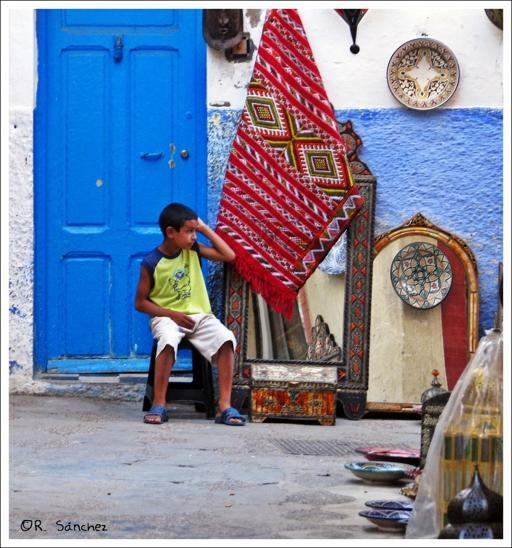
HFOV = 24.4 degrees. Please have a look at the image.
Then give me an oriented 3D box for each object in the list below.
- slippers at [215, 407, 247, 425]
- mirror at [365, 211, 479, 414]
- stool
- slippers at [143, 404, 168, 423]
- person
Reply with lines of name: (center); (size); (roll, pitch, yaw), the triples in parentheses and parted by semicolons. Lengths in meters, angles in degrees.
slippers: (-0.139, 0.790, 6.545); (0.077, 0.061, 0.169); (2, -6, -28)
mirror: (0.973, 0.250, 7.111); (0.740, 1.182, 0.047); (-3, 13, -4)
stool: (-0.423, 0.591, 6.858); (0.456, 0.584, 0.438); (1, -1, -9)
slippers: (-0.538, 0.758, 6.409); (0.129, 0.100, 0.239); (3, -5, -4)
person: (-0.365, 0.217, 6.679); (0.625, 1.226, 0.538); (3, -5, -7)
